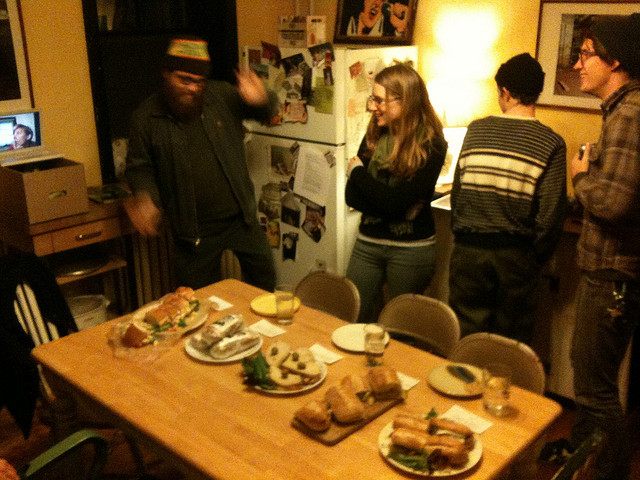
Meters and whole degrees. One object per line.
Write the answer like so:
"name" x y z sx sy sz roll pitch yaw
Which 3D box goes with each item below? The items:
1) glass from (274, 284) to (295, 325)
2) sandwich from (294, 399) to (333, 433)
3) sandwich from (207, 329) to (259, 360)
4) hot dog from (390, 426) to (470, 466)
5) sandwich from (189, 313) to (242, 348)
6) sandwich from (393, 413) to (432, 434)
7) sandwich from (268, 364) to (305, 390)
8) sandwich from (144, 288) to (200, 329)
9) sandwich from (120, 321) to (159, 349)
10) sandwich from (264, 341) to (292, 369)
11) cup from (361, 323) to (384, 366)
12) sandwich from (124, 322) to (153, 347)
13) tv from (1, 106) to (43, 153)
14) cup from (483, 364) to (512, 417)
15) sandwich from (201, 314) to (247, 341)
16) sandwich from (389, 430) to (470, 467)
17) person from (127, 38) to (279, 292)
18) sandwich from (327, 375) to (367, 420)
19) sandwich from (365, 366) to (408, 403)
"glass" -0.175 0.312 2.362 0.112 0.169 0.107 -3 -3 -7
"sandwich" -0.016 0.584 1.695 0.093 0.036 0.103 -33 43 -27
"sandwich" -0.362 0.431 2.098 0.194 0.061 0.094 -21 32 -38
"hot dog" 0.344 0.636 1.590 0.199 0.058 0.107 7 24 22
"sandwich" -0.431 0.373 2.167 0.225 0.064 0.111 -35 20 -35
"sandwich" 0.307 0.597 1.659 0.072 0.025 0.071 10 8 18
"sandwich" -0.131 0.522 1.913 0.126 0.032 0.066 15 34 38
"sandwich" -0.696 0.311 2.354 0.188 0.080 0.261 9 29 16
"sandwich" -0.776 0.410 2.167 0.119 0.036 0.118 31 58 16
"sandwich" -0.165 0.452 2.000 0.090 0.038 0.089 4 32 17
"cup" 0.222 0.429 2.029 0.134 0.140 0.129 -2 5 0
"sandwich" -0.801 0.406 2.190 0.103 0.082 0.128 -19 29 -41
"tv" -1.930 -0.711 3.229 0.032 0.209 0.312 13 19 37
"cup" 0.642 0.549 1.815 0.116 0.171 0.112 2 -9 0
"sandwich" -0.409 0.369 2.152 0.104 0.040 0.132 17 27 36
"sandwich" 0.340 0.650 1.587 0.196 0.051 0.106 5 20 23
"person" -0.727 -0.396 3.213 0.932 1.645 0.444 -7 24 -20
"sandwich" 0.083 0.560 1.765 0.117 0.053 0.157 -31 45 -12
"sandwich" 0.244 0.520 1.876 0.156 0.054 0.198 -7 21 -12
